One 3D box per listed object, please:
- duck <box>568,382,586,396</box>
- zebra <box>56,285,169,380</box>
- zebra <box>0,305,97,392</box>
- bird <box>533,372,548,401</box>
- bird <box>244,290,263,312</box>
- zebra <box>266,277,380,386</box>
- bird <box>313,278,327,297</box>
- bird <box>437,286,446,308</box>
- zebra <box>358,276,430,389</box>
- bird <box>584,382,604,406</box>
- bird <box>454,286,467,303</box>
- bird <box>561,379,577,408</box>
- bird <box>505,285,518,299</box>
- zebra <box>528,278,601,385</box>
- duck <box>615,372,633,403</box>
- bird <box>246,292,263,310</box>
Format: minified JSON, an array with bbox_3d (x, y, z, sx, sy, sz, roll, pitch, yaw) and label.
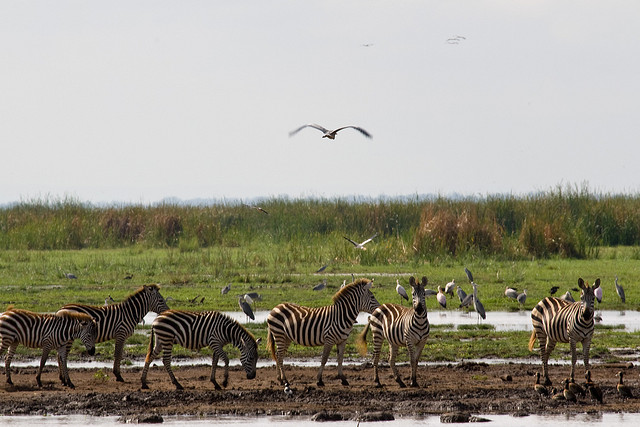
[{"bbox_3d":[8.134,5.560,44.679,0.227,0.500,0.711,0,-6,35],"label":"duck"},{"bbox_3d":[-6.848,3.957,46.247,3.613,3.336,1.080,0,7,-20],"label":"zebra"},{"bbox_3d":[-8.792,4.371,45.873,3.143,2.723,2.664,-2,-2,30],"label":"zebra"},{"bbox_3d":[7.095,5.534,45.030,0.396,0.808,1.234,-1,-2,8],"label":"bird"},{"bbox_3d":[-2.519,3.206,53.358,0.799,0.647,0.294,9,6,42],"label":"bird"},{"bbox_3d":[0.136,3.843,46.065,3.803,4.121,1.418,2,15,8],"label":"zebra"},{"bbox_3d":[0.030,2.876,54.955,0.252,0.812,0.879,3,-20,-30],"label":"bird"},{"bbox_3d":[4.616,3.200,53.454,0.238,0.614,0.693,-21,34,18],"label":"bird"},{"bbox_3d":[2.505,3.837,45.620,2.175,3.606,0.879,-1,-2,20],"label":"zebra"},{"bbox_3d":[8.710,5.702,44.592,0.556,0.680,0.773,-1,-2,9],"label":"bird"},{"bbox_3d":[5.280,2.922,52.636,0.218,0.711,0.446,-8,-37,-3],"label":"bird"},{"bbox_3d":[7.937,5.691,44.475,0.388,0.813,0.659,-1,-2,10],"label":"bird"},{"bbox_3d":[7.414,3.017,54.363,0.193,0.478,0.691,0,25,-5],"label":"bird"},{"bbox_3d":[8.019,3.882,45.658,1.006,3.522,4.071,-2,-6,-23],"label":"zebra"},{"bbox_3d":[9.711,5.509,44.708,0.461,0.906,0.744,-1,-2,18],"label":"duck"},{"bbox_3d":[-2.506,3.271,53.179,0.501,0.653,0.263,0,8,-23],"label":"bird"}]
